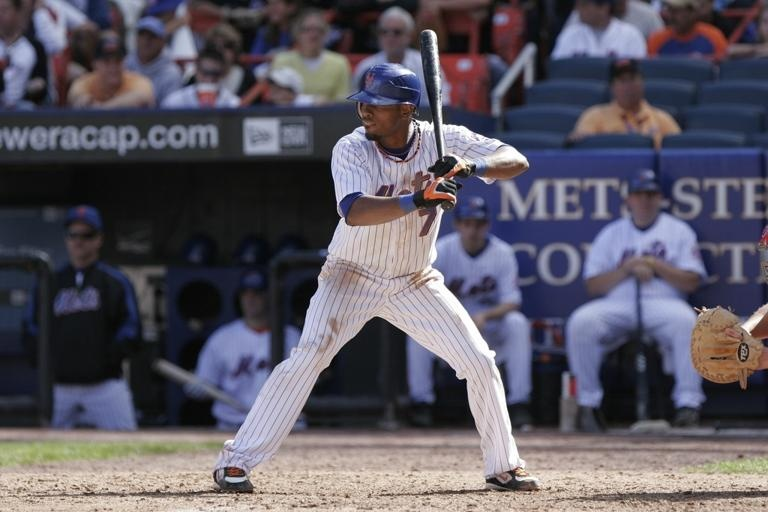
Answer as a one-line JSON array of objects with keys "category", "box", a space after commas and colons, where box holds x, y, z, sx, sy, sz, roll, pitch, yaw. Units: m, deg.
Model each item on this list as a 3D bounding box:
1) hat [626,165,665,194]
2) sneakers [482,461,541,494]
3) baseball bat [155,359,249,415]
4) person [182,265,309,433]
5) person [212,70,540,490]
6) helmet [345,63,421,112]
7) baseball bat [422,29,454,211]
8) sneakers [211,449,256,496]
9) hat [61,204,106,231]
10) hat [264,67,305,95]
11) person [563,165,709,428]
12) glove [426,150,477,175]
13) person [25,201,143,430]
[{"category": "hat", "box": [1.664, -0.478, 11.377, 0.186, 0.124, 0.251, 1, 3, 8]}, {"category": "sneakers", "box": [0.694, 1.233, 9.797, 0.322, 0.124, 0.113, -3, -3, 9]}, {"category": "baseball bat", "box": [-1.225, 0.880, 11.941, 0.653, 0.073, 0.089, 29, 19, -22]}, {"category": "person", "box": [-0.923, 0.655, 12.383, 1.163, 1.542, 0.927, 1, -7, -6]}, {"category": "person", "box": [-0.006, 0.118, 9.651, 1.622, 2.283, 0.618, -1, -6, 4]}, {"category": "helmet", "box": [0.004, -0.898, 9.672, 0.324, 0.153, 0.237, 9, 4, -12]}, {"category": "baseball bat", "box": [0.286, -0.766, 9.733, 0.128, 1.068, 0.127, 9, -20, -34]}, {"category": "sneakers", "box": [-0.817, 1.206, 9.719, 0.296, 0.126, 0.110, -3, -4, 44]}, {"category": "hat", "box": [-1.902, -0.238, 11.403, 0.231, 0.155, 0.162, 1, -6, -12]}, {"category": "hat", "box": [-0.643, -1.166, 11.867, 0.116, 0.143, 0.371, -25, -4, 16]}, {"category": "person", "box": [1.600, 0.297, 11.461, 0.876, 1.623, 0.344, -1, -6, 6]}, {"category": "glove", "box": [0.348, -0.466, 9.506, 0.152, 0.058, 0.149, 2, -14, -40]}, {"category": "person", "box": [-1.844, 0.417, 11.523, 0.546, 1.390, 0.516, 1, -6, -9]}]
